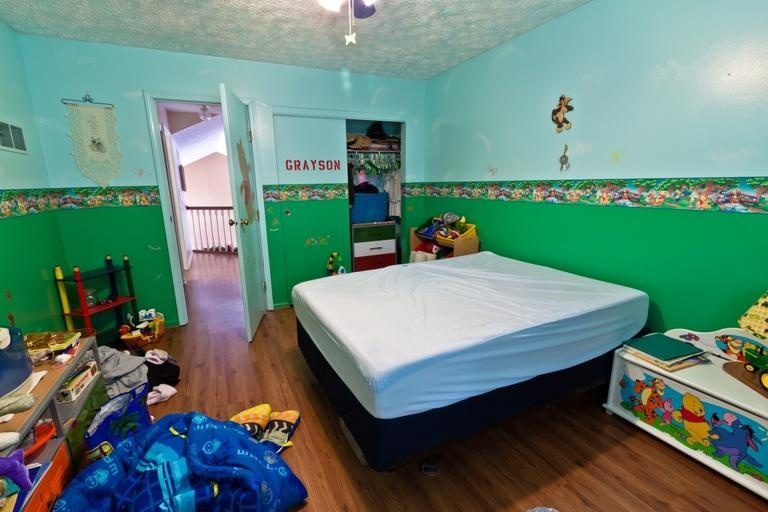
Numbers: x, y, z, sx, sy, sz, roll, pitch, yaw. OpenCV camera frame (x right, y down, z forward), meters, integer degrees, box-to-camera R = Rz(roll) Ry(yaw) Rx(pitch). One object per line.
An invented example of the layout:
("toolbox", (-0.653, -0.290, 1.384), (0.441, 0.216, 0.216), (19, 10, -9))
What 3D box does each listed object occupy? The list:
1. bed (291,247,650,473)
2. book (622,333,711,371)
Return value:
("bed", (0.629, 0.775, 3.970), (2.421, 1.066, 1.390), (-7, 13, -21))
("book", (2.133, 0.710, 3.502), (0.306, 0.070, 0.299), (-7, 15, -24))
